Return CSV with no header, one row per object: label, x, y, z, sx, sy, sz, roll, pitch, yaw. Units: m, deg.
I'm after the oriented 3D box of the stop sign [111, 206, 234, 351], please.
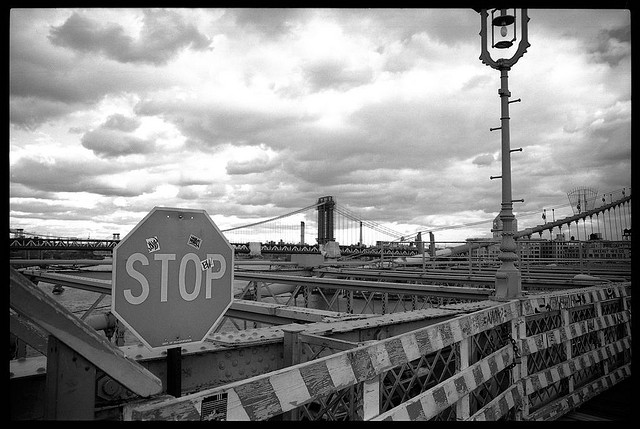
stop sign,-1.510,0.682,5.128,1.547,1.733,0.118,-1,1,-41
